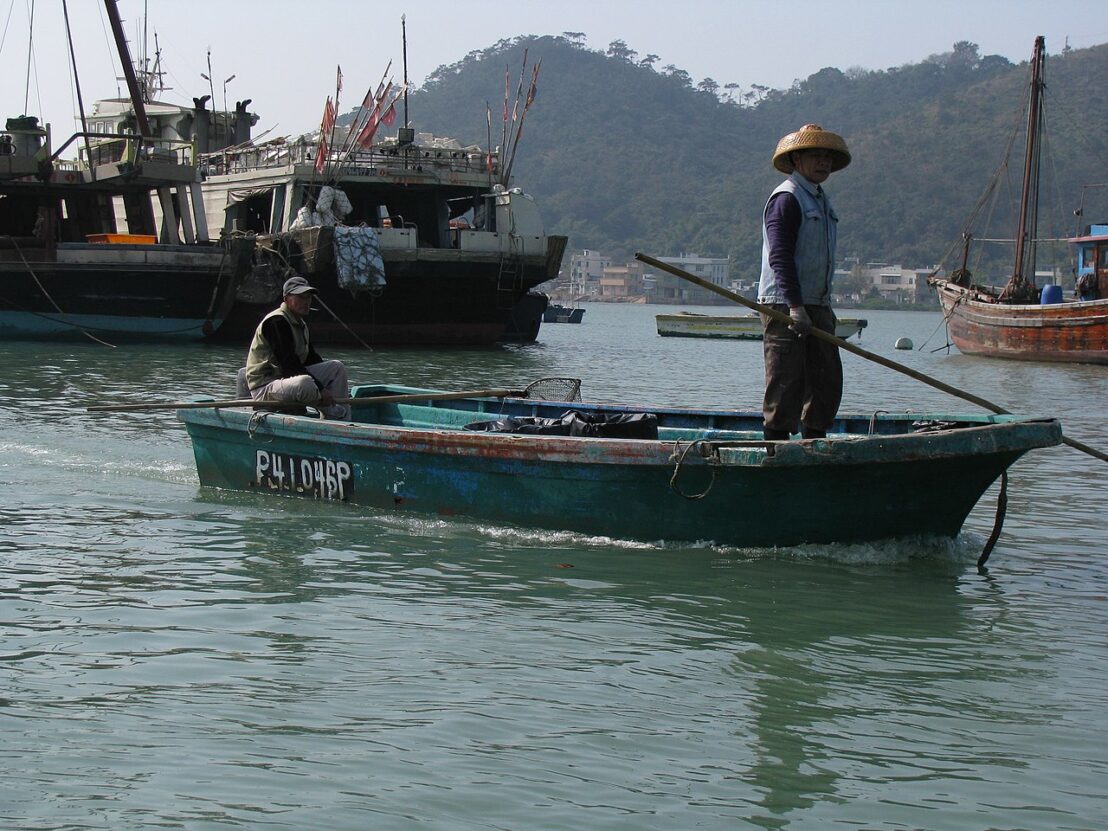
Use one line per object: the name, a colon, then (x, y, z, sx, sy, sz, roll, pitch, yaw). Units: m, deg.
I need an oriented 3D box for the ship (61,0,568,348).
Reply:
ship: (-4.964, -4.046, 36.682, 6.178, 4.554, 13.409, -2, 3, -32)

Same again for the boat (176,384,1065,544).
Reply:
boat: (0.154, 0.474, 14.951, 7.013, 0.799, 2.330, 0, 2, 27)

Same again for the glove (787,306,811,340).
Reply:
glove: (1.834, -0.698, 13.553, 0.162, 0.218, 0.222, 1, 4, 7)

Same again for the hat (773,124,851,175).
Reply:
hat: (1.944, -2.021, 13.756, 0.558, 0.395, 0.526, 1, 4, 4)

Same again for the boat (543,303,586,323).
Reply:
boat: (0.415, -3.640, 66.034, 1.910, 0.486, 1.019, 3, 6, 27)
